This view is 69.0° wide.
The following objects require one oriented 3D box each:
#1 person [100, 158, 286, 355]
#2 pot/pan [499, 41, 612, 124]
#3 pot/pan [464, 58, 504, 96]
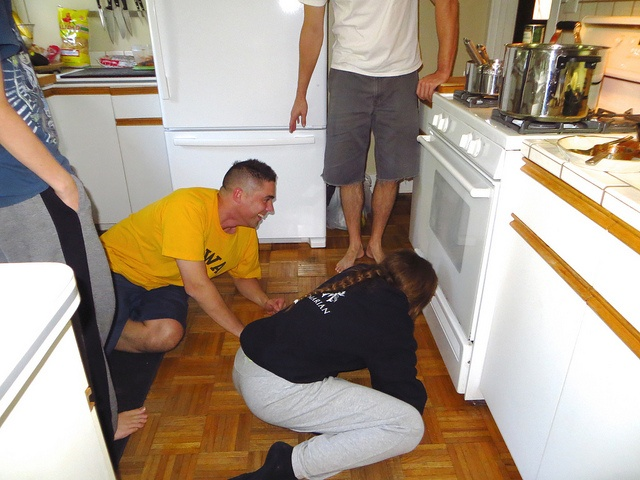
[{"bbox_3d":[-0.348,0.026,2.037,0.991,0.573,0.529,11,30,-11],"label":"person"},{"bbox_3d":[0.735,-0.478,1.442,0.246,0.168,0.251,-5,25,-19],"label":"pot/pan"},{"bbox_3d":[0.617,-0.625,1.830,0.156,0.127,0.158,6,17,26],"label":"pot/pan"}]
